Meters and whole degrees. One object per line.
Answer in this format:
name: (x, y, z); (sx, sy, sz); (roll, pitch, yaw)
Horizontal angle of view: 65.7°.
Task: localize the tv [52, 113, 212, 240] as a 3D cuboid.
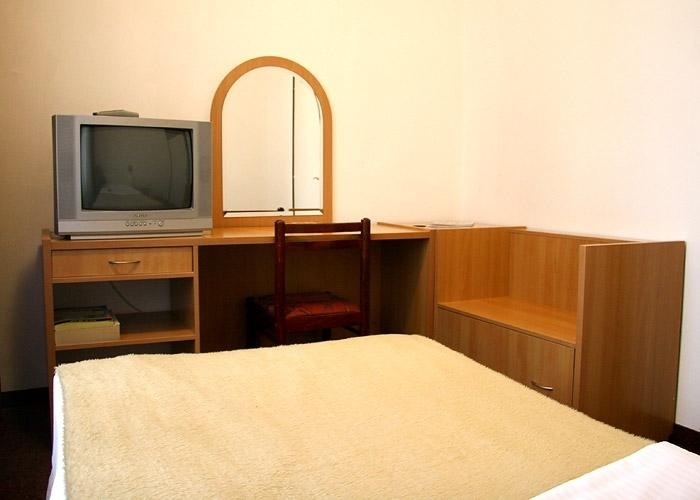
tv: (-1.072, -0.330, 2.743); (0.706, 0.574, 0.403); (-2, -3, -18)
